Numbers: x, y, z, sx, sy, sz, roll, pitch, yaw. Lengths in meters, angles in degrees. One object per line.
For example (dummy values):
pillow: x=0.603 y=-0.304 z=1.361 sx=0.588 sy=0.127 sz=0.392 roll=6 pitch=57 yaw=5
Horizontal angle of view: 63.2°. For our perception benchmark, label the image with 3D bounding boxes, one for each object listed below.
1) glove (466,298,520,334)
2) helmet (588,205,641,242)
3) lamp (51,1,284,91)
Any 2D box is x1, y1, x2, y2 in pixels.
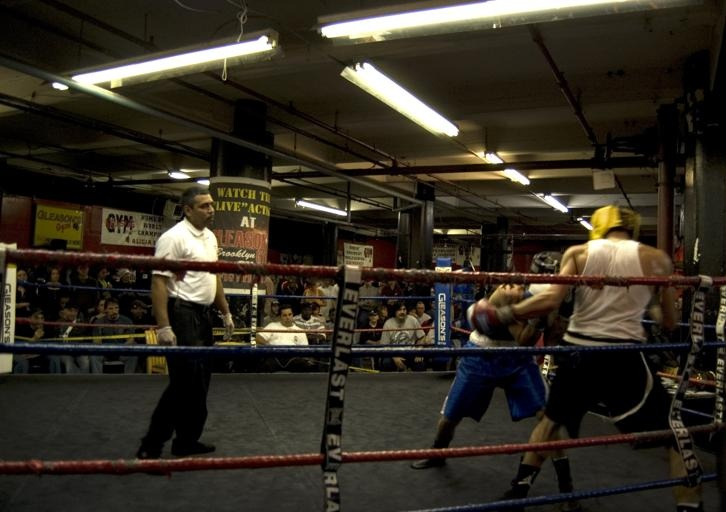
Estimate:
glove: x=0.825 y=0.376 z=3.681 sx=0.299 sy=0.115 sz=0.205 roll=-2 pitch=14 yaw=-31
helmet: x=1.696 y=-0.221 z=4.023 sx=0.295 sy=0.202 sz=0.218 roll=-3 pitch=-12 yaw=37
lamp: x=-2.171 y=-2.073 z=6.432 sx=2.390 sy=0.197 sz=0.310 roll=-7 pitch=21 yaw=10
